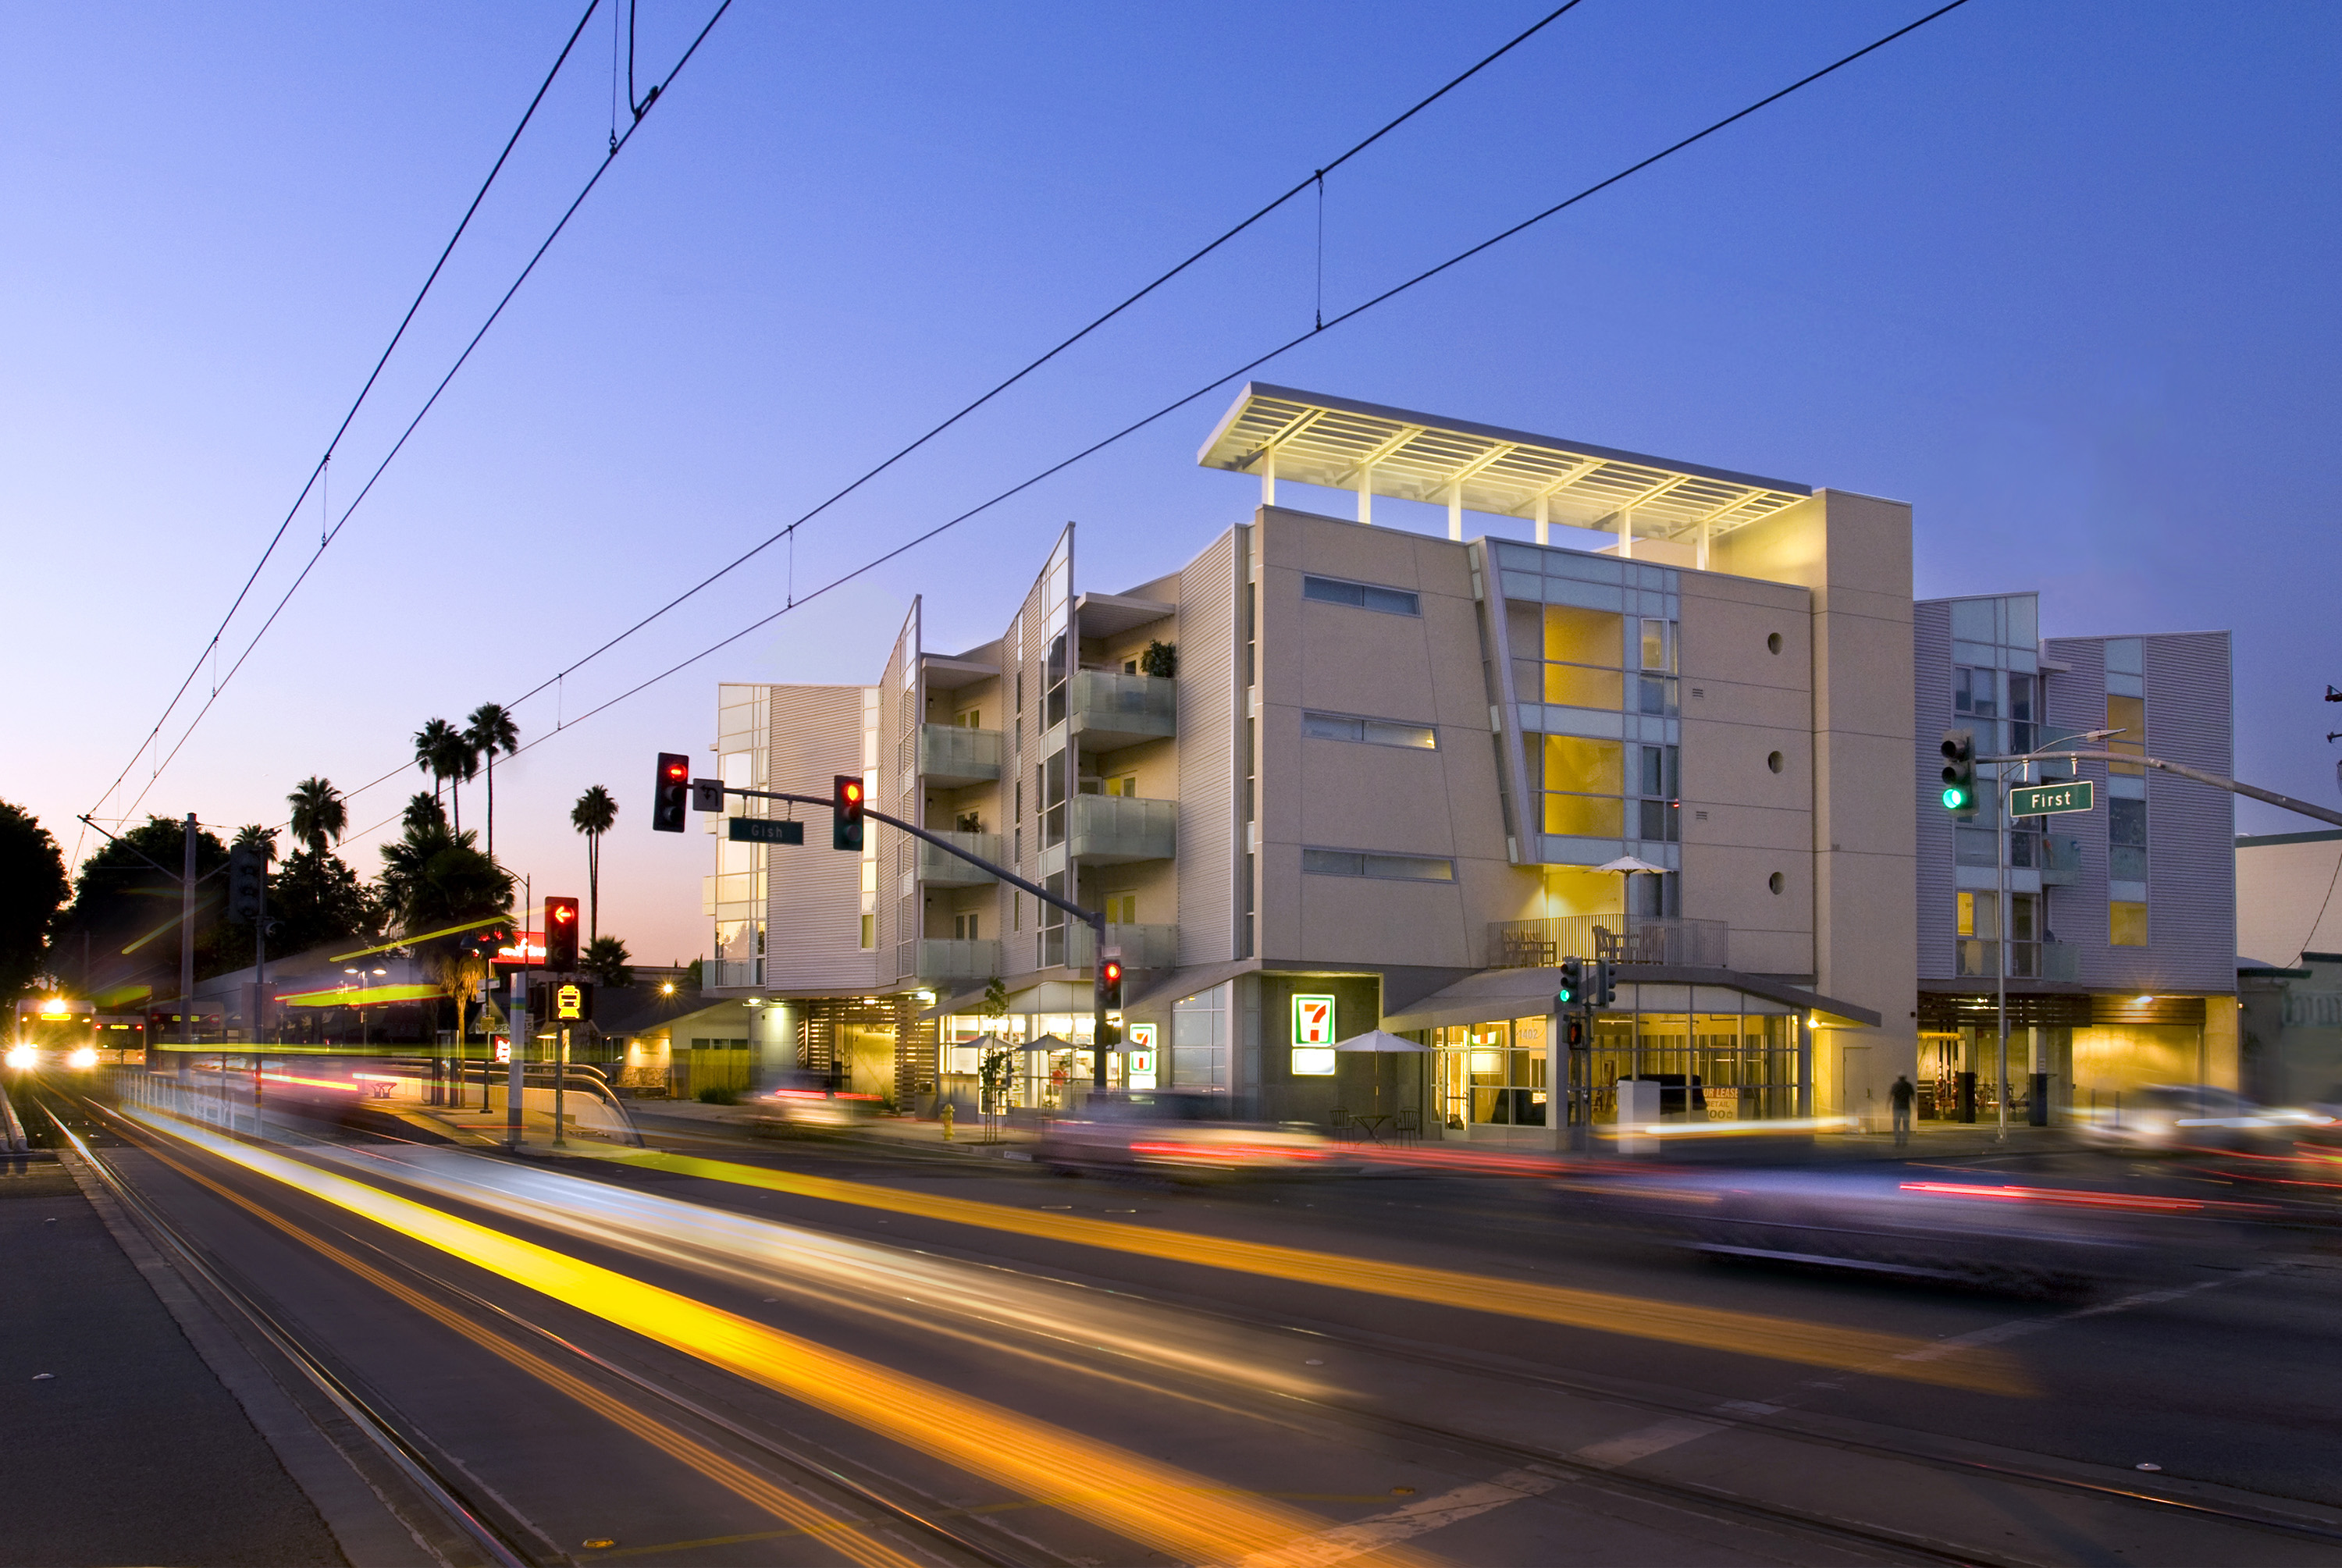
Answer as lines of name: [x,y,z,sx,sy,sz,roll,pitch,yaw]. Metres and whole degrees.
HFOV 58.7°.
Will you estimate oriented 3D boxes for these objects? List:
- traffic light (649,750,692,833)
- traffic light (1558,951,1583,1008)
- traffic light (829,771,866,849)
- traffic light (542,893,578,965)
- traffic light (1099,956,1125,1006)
traffic light: [-8.525,0.094,35.597,0.467,1.246,0.831,-1,-1,16]
traffic light: [8.293,4.129,43.479,0.381,0.791,0.572,0,-1,-13]
traffic light: [-5.881,0.447,37.941,0.451,1.220,1.381,0,-1,-15]
traffic light: [-12.434,2.957,42.354,0.565,1.355,0.682,0,-1,-25]
traffic light: [-1.274,3.940,42.682,0.425,1.001,1.456,0,-2,-4]
